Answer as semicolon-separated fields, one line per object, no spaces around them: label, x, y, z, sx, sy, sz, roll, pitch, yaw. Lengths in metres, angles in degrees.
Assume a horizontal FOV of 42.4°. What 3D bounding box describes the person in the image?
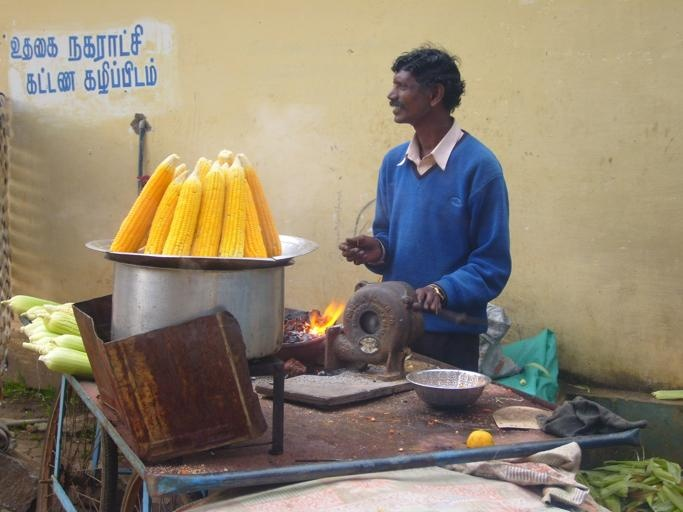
person;0.600;-0.052;6.853;1.113;2.961;1.430;-6;14;-28

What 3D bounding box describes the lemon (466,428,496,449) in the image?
lemon;0.852;1.129;5.407;0.114;0.117;0.117;-8;-1;-14

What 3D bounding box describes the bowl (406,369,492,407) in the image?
bowl;0.723;0.906;5.895;0.563;0.179;0.564;1;7;0
